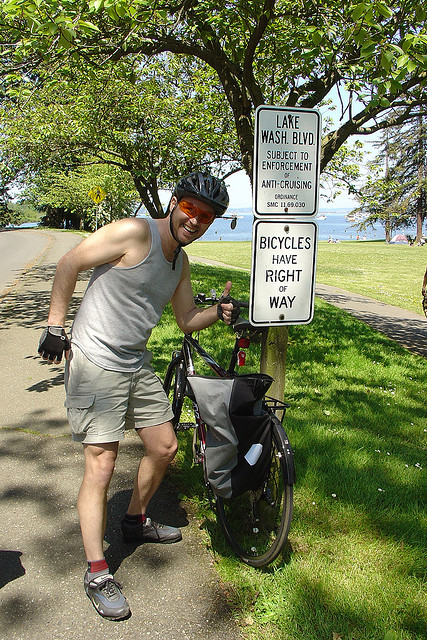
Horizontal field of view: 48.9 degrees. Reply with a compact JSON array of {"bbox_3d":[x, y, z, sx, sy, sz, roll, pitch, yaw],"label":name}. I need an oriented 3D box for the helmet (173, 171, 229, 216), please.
[{"bbox_3d":[-0.042,-0.644,2.360,0.254,0.183,0.347,16,-2,-14],"label":"helmet"}]

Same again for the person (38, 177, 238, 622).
[{"bbox_3d":[-0.371,0.313,2.229,0.529,1.991,0.810,5,7,34],"label":"person"}]

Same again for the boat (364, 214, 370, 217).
[{"bbox_3d":[20.587,-13.842,62.475,0.759,0.181,0.734,-2,6,-10],"label":"boat"}]

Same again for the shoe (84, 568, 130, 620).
[{"bbox_3d":[-0.464,1.211,2.075,0.103,0.101,0.244,0,-1,-32],"label":"shoe"}]
